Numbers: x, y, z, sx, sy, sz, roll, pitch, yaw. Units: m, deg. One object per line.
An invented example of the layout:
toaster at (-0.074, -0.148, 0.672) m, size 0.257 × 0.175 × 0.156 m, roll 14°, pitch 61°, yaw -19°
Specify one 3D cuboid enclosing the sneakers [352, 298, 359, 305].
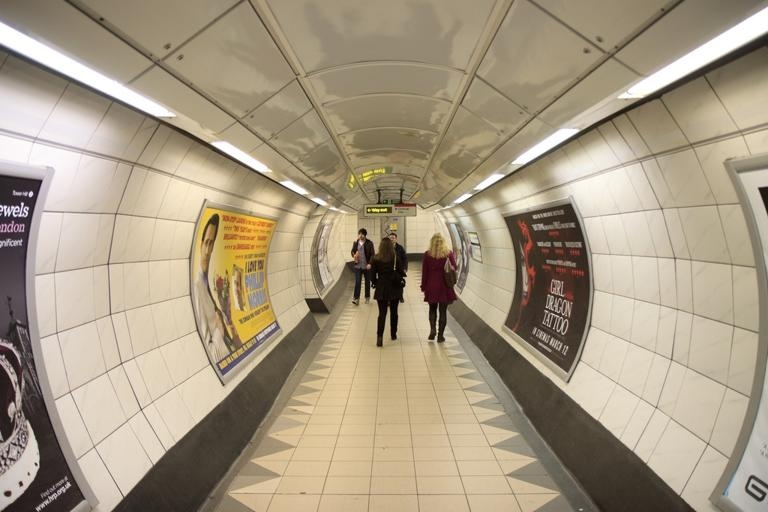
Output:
sneakers at (-1.052, 1.673, 12.571) m, size 0.251 × 0.340 × 0.234 m, roll 8°, pitch -77°, yaw -1°
